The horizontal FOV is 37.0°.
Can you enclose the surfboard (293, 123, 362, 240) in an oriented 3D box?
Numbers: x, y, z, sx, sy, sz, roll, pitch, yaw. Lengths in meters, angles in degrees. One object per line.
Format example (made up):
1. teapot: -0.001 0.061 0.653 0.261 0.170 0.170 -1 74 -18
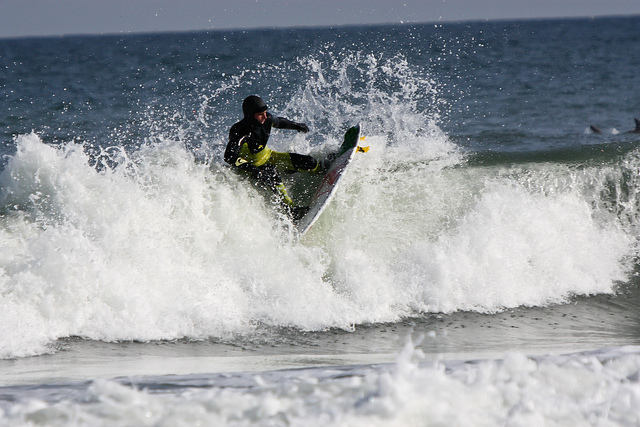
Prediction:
1. surfboard: 0.183 -0.696 24.104 0.674 0.371 3.410 7 61 48
